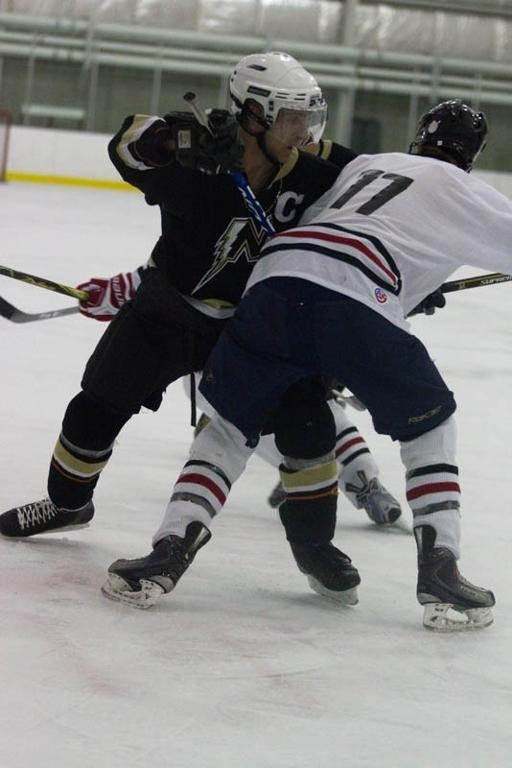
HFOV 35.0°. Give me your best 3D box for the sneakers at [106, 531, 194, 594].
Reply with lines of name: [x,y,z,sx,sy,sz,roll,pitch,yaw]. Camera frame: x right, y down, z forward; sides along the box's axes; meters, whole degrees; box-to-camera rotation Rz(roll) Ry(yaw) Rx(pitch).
sneakers: [-0.204,0.337,1.559,0.156,0.133,0.049,-4,-40,30]

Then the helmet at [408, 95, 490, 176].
helmet: [0.469,-0.603,1.961,0.187,0.160,0.136,13,27,13]

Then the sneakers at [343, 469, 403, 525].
sneakers: [0.326,0.321,2.334,0.195,0.110,0.083,49,8,15]

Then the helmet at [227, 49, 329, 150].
helmet: [0.056,-0.617,1.734,0.218,0.174,0.176,22,30,28]

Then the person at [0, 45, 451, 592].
person: [-0.054,-0.156,2.338,1.258,1.418,0.854,4,-5,44]

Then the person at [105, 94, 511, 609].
person: [0.135,-0.125,1.679,0.734,0.880,0.471,7,3,-7]

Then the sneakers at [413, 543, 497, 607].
sneakers: [0.379,0.375,1.555,0.188,0.117,0.058,14,-17,-22]
